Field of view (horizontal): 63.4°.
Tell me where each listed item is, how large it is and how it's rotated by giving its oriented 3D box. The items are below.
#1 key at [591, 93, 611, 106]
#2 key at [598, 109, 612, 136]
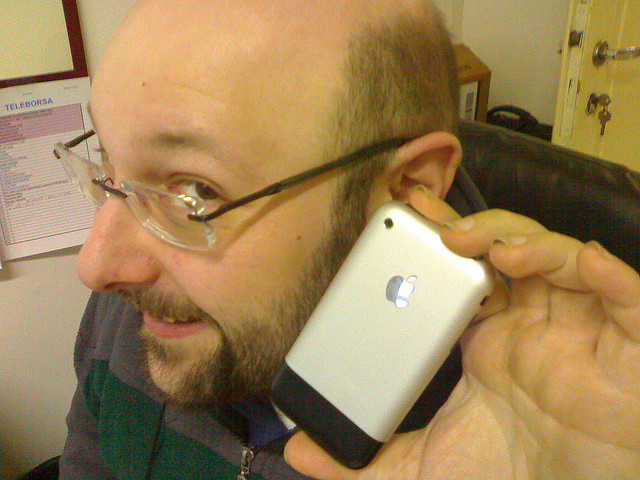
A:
[{"bbox_3d":[1.061,-0.532,1.961,0.121,0.048,0.014,-20,30,-30],"label":"key"},{"bbox_3d":[1.108,-0.464,2.026,0.082,0.103,0.018,-23,31,-34],"label":"key"}]
